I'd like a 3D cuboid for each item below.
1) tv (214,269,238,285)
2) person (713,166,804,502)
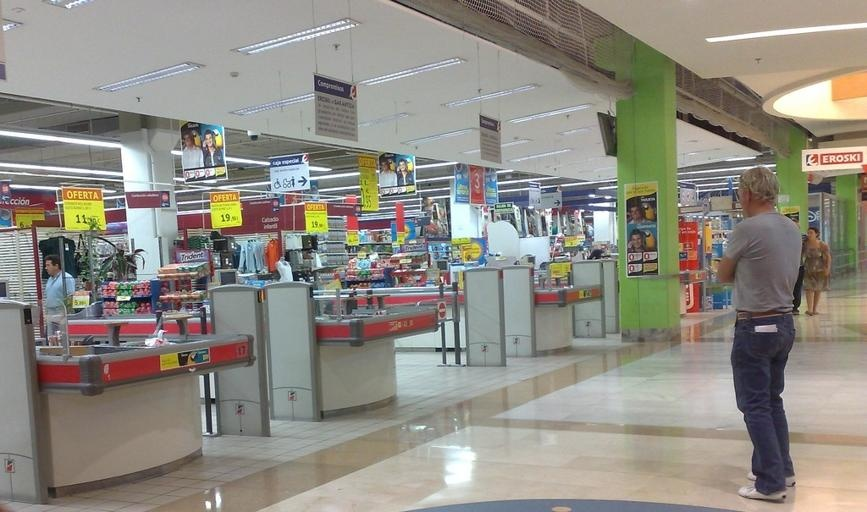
[{"bbox_3d":[-2.938,0.304,9.621,0.276,0.193,2.285,-4,2,-18],"label":"tv"},{"bbox_3d":[3.123,0.714,6.507,0.725,3.104,0.394,-5,2,-18],"label":"person"}]
